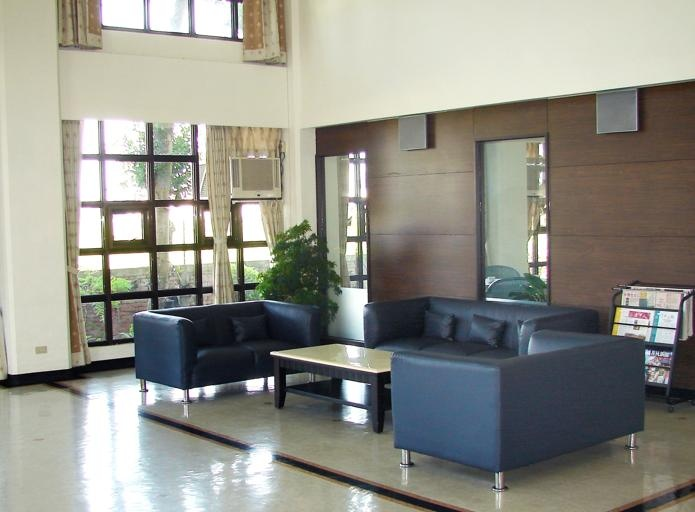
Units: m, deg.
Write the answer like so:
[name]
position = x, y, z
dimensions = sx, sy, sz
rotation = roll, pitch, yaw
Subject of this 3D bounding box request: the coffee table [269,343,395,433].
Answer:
[coffee table]
position = -0.030, 1.435, 6.595
dimensions = 1.612, 0.674, 0.727
rotation = 1, 3, 42

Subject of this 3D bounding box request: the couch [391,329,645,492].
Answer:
[couch]
position = 1.546, 1.287, 5.276
dimensions = 2.082, 0.907, 1.161
rotation = 0, -3, -37
